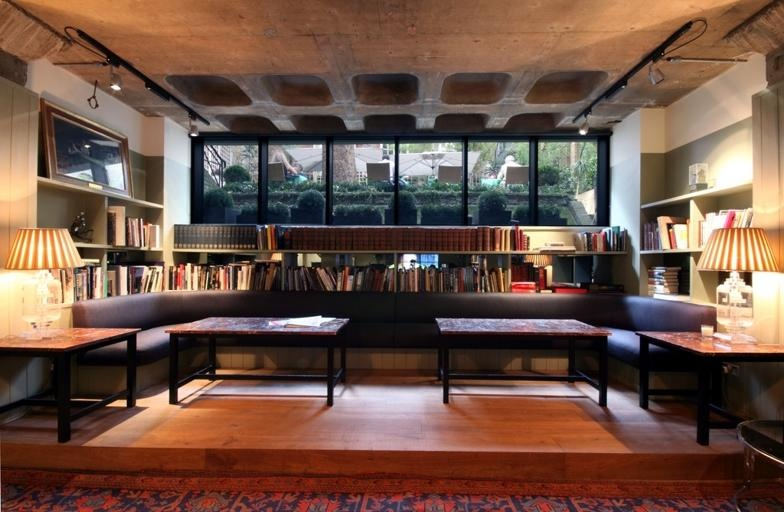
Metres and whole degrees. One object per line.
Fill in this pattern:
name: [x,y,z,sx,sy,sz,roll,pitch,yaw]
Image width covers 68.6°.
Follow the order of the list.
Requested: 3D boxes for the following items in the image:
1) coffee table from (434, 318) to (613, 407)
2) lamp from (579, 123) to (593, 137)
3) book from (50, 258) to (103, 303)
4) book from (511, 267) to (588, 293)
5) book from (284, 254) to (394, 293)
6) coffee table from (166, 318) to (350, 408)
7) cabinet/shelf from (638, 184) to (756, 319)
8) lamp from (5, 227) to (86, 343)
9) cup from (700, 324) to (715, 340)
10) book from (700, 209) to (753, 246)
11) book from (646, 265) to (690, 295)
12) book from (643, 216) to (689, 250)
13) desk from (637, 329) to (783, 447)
coffee table: [1.463,1.191,6.586,1.841,0.950,0.920,-2,-1,2]
lamp: [2.620,-1.721,7.789,0.103,0.087,0.226,22,33,15]
book: [-3.456,0.278,6.302,0.339,0.487,0.574,-2,-1,19]
book: [2.097,0.328,7.736,0.993,0.343,0.307,-2,-1,9]
book: [-0.703,0.299,7.757,1.553,0.326,0.120,-2,-1,0]
coffee table: [-1.487,1.181,6.573,1.974,0.789,1.039,-2,-1,1]
cabinet/shelf: [3.512,-0.029,6.586,0.604,1.421,1.842,3,-4,-16]
lamp: [-3.533,0.253,5.907,0.721,0.748,0.398,-2,-1,-13]
cup: [3.214,0.790,5.951,0.161,0.139,0.145,1,-4,9]
book: [3.561,-0.300,6.125,0.211,0.384,0.463,16,-6,-13]
book: [3.521,0.313,7.310,0.556,0.421,0.342,-1,-3,25]
book: [3.406,-0.277,7.141,0.263,0.380,0.473,10,-9,-39]
desk: [3.123,1.244,5.892,1.181,0.778,1.429,1,-1,1]
